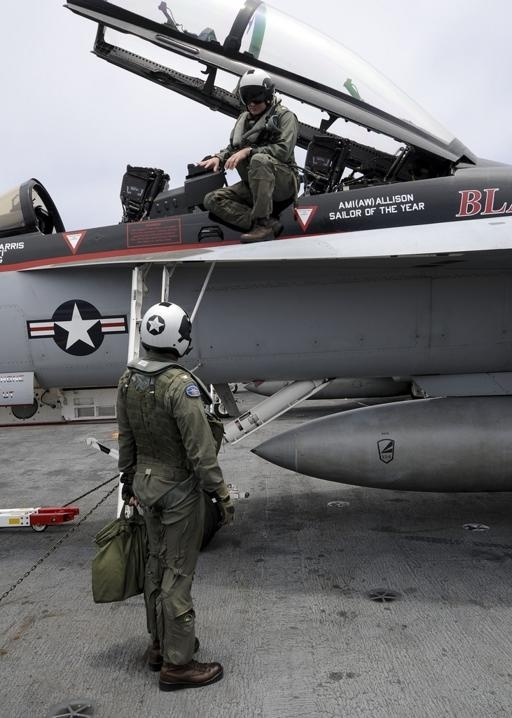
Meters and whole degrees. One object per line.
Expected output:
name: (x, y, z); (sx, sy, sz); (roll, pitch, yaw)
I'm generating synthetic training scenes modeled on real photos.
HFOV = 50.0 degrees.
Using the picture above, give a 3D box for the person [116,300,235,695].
person: (-0.393, 0.596, 2.587); (0.389, 1.593, 0.597); (-2, 0, -28)

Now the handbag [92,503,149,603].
handbag: (-0.675, 0.967, 2.774); (0.289, 0.462, 0.189); (2, -2, -15)

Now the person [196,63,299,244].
person: (-0.013, -1.421, 3.881); (0.660, 1.148, 0.593); (-2, 0, -18)

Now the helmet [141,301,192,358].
helmet: (-0.456, -0.147, 2.721); (0.284, 0.279, 0.325); (7, 0, 7)

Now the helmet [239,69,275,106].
helmet: (0.017, -1.860, 3.789); (0.213, 0.196, 0.259); (11, 15, 39)
